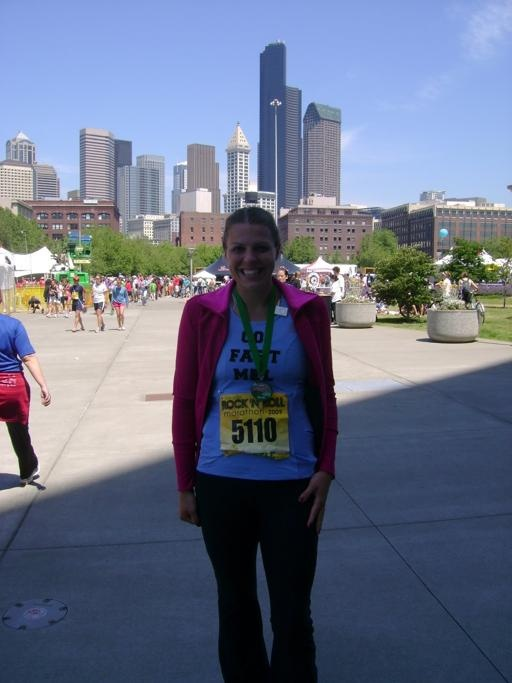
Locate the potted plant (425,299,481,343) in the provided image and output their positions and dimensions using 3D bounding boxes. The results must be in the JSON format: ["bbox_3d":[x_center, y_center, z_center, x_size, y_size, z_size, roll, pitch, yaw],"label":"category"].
[{"bbox_3d":[4.721,-0.490,14.433,1.040,0.744,1.065,1,0,18],"label":"potted plant"}]

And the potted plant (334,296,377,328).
[{"bbox_3d":[3.131,-0.918,19.320,1.009,0.664,1.028,0,1,-2],"label":"potted plant"}]

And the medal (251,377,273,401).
[{"bbox_3d":[0.011,0.131,1.694,0.056,0.070,0.057,3,-5,-14],"label":"medal"}]
